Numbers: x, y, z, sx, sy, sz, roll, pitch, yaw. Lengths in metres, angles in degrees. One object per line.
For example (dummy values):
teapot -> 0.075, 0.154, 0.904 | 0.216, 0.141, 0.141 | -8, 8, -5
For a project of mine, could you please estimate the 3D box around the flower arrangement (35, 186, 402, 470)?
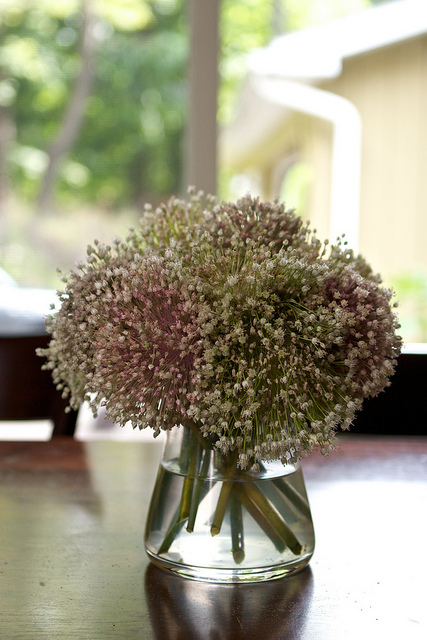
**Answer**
flower arrangement -> 0.032, 0.040, 0.641 | 0.359, 0.218, 0.309 | -4, 26, -5

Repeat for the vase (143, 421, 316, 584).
vase -> 0.020, 0.183, 0.655 | 0.176, 0.144, 0.165 | -1, -5, 17
